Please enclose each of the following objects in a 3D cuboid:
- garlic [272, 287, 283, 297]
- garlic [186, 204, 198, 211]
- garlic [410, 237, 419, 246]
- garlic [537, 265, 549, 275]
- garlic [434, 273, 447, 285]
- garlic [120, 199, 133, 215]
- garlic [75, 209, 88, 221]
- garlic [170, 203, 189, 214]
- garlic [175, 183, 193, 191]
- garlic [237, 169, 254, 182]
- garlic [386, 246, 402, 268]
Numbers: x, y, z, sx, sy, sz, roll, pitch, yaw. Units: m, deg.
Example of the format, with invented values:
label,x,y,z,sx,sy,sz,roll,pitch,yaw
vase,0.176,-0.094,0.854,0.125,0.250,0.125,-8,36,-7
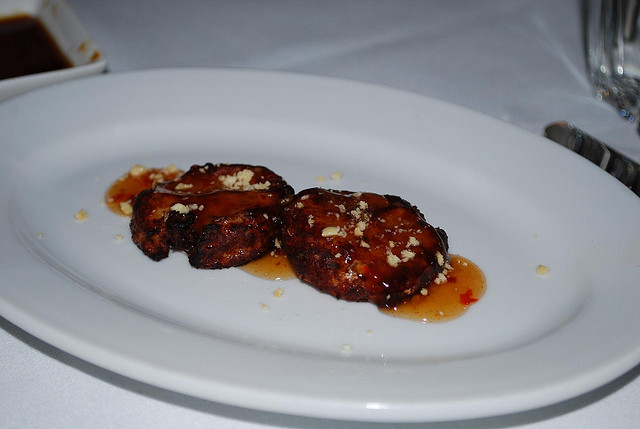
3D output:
label,x,y,z,sx,sy,sz,roll,pitch,yaw
garlic,-0.231,0.428,3.233,0.034,0.013,0.051,17,27,12
garlic,-0.718,-0.043,3.324,0.046,0.010,0.026,2,57,-2
garlic,0.522,0.148,3.218,0.034,0.011,0.042,-1,51,-4
garlic,1.273,0.320,3.356,0.061,0.041,0.052,-5,13,21
garlic,0.677,0.365,3.289,0.063,0.059,0.018,4,-22,6
garlic,-1.193,-0.043,3.624,0.076,0.072,0.121,-14,13,-16
garlic,-1.439,0.003,3.534,0.070,0.049,0.050,-15,13,-22
garlic,-0.789,-0.030,3.309,0.095,0.059,0.038,-8,13,8
garlic,-0.807,-0.164,3.450,0.068,0.025,0.041,-2,22,0
garlic,-0.451,-0.236,3.537,0.066,0.025,0.082,12,26,14
garlic,0.394,0.235,3.146,0.057,0.022,0.092,-17,54,-23
